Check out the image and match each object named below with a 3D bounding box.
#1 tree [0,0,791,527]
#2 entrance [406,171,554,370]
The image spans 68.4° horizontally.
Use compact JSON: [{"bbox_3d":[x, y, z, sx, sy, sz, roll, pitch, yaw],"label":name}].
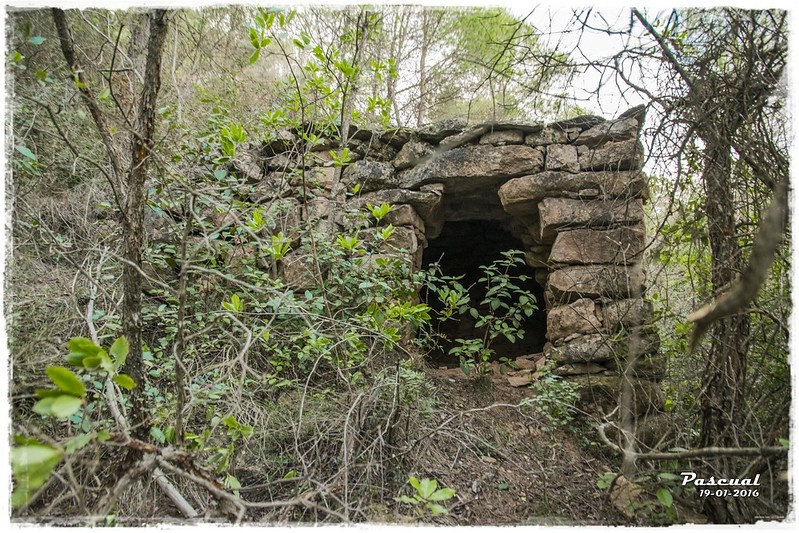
[{"bbox_3d":[1.401,-0.101,6.274,4.209,4.199,2.568,3,0,27],"label":"tree"},{"bbox_3d":[1.089,0.276,7.838,2.148,2.696,2.090,-2,-7,17],"label":"entrance"}]
